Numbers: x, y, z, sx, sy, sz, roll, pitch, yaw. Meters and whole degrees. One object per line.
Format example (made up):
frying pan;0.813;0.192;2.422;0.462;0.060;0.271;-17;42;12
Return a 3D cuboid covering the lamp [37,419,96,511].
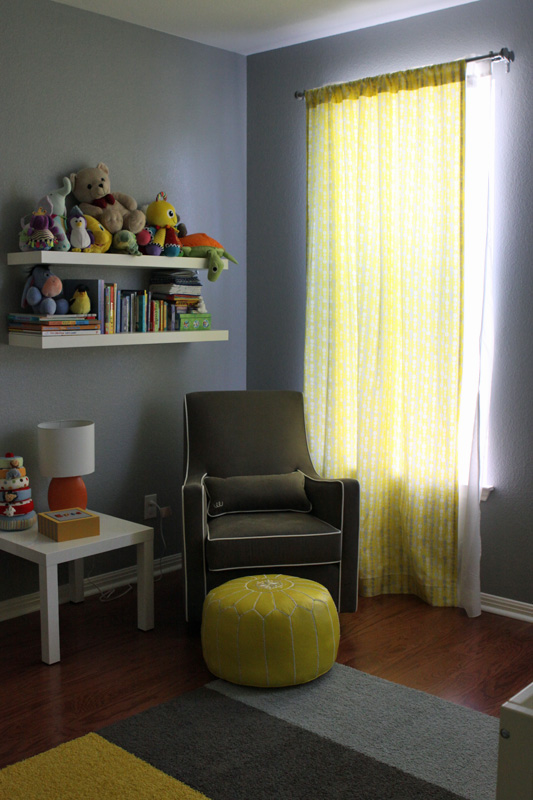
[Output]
lamp;-0.846;0.274;2.747;0.216;0.359;0.331;0;0;-18

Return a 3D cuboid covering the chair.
chair;-0.052;0.369;3.033;0.727;1.080;0.943;0;-4;-8

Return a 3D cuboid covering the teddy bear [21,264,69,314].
teddy bear;-0.894;-0.440;2.615;0.171;0.206;0.176;0;0;-8
